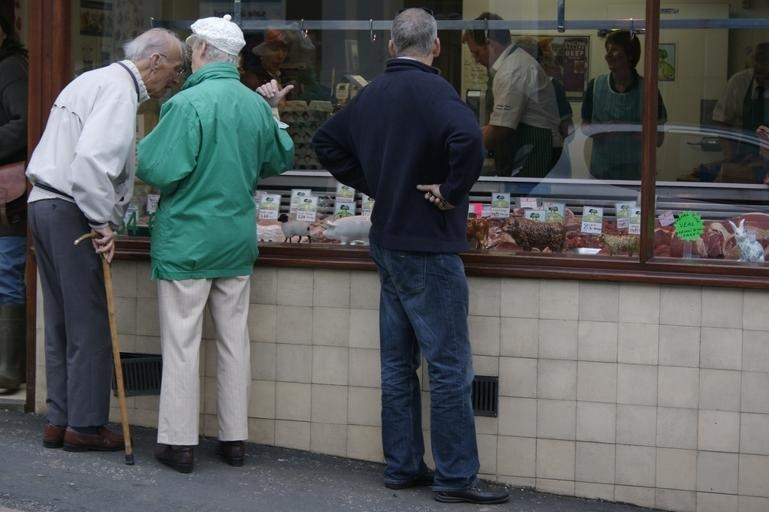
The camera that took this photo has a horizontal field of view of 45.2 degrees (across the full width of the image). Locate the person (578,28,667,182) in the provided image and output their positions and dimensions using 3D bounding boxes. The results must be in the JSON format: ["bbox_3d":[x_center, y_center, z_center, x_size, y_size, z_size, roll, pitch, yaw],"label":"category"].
[{"bbox_3d":[1.639,-1.059,6.458,0.315,1.018,0.596,-10,19,-44],"label":"person"}]

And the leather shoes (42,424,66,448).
[{"bbox_3d":[-2.215,1.209,6.191,0.086,0.145,0.211,2,6,-1],"label":"leather shoes"}]

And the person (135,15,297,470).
[{"bbox_3d":[-1.111,-0.071,6.039,0.914,2.869,0.675,-8,17,-39],"label":"person"}]

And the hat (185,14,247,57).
[{"bbox_3d":[-1.110,-1.489,6.028,0.240,0.160,0.295,1,29,-49],"label":"hat"}]

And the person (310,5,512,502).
[{"bbox_3d":[0.221,0.005,5.767,0.448,2.977,1.280,-9,18,-42],"label":"person"}]

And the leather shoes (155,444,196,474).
[{"bbox_3d":[-1.361,1.312,5.983,0.114,0.159,0.326,0,14,-44],"label":"leather shoes"}]

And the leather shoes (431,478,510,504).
[{"bbox_3d":[0.545,1.489,5.824,0.468,0.173,0.182,-1,-1,0],"label":"leather shoes"}]

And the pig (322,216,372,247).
[{"bbox_3d":[-0.251,-0.172,6.489,0.429,0.250,0.149,-2,-10,14],"label":"pig"}]

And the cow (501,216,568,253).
[{"bbox_3d":[1.033,-0.155,6.302,0.451,0.187,0.299,2,49,13],"label":"cow"}]

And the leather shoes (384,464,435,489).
[{"bbox_3d":[0.162,1.449,5.968,0.357,0.166,0.134,-7,10,-32],"label":"leather shoes"}]

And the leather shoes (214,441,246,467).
[{"bbox_3d":[-1.020,1.312,6.113,0.092,0.116,0.255,-1,8,-19],"label":"leather shoes"}]
